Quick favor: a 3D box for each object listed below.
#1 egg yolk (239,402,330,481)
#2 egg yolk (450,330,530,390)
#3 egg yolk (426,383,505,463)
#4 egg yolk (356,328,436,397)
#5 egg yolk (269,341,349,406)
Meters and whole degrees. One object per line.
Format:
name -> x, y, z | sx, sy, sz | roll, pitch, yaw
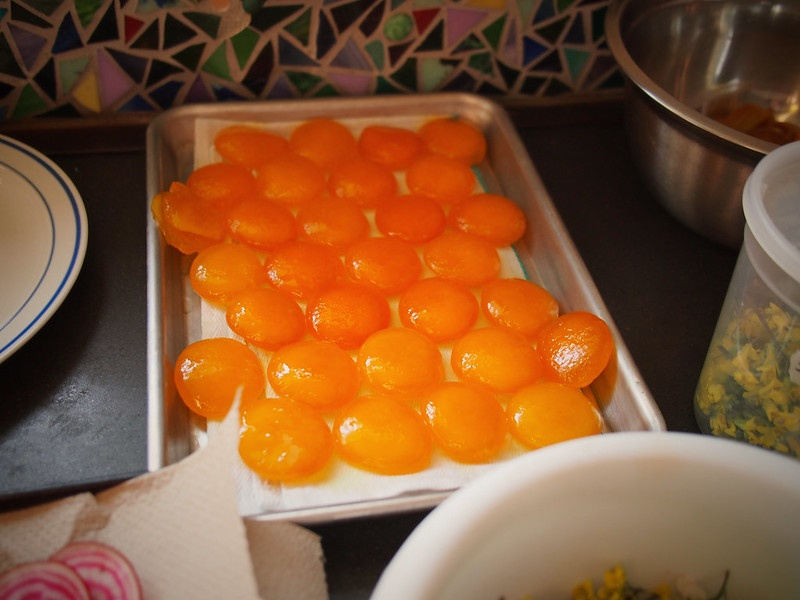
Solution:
egg yolk -> -0.137, 0.165, 0.782 | 0.106, 0.028, 0.087 | 6, 59, 5
egg yolk -> 0.122, 0.077, 0.854 | 0.112, 0.029, 0.079 | 6, 59, 5
egg yolk -> 0.084, 0.155, 0.782 | 0.075, 0.022, 0.093 | -19, 62, -17
egg yolk -> -0.002, 0.078, 0.844 | 0.103, 0.034, 0.088 | -10, 59, -5
egg yolk -> -0.111, 0.093, 0.832 | 0.112, 0.036, 0.080 | 15, 60, 10
